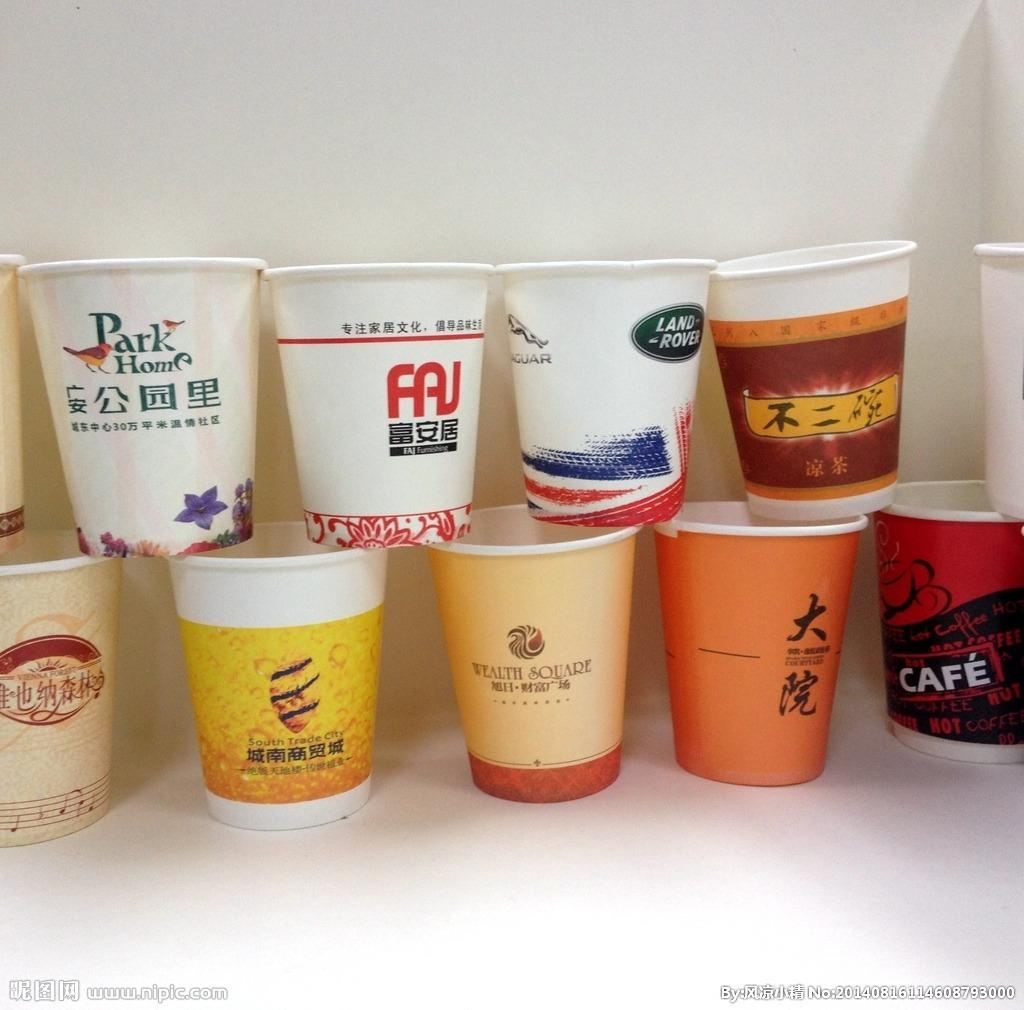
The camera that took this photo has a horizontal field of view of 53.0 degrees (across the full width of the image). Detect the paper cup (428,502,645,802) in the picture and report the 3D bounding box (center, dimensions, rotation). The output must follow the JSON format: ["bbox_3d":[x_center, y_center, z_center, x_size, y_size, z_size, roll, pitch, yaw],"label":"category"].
[{"bbox_3d":[0.036,0.202,1.429,0.375,0.362,0.341,-3,2,0],"label":"paper cup"}]

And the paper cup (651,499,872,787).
[{"bbox_3d":[0.334,0.172,1.495,0.363,0.365,0.356,-2,3,0],"label":"paper cup"}]

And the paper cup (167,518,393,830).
[{"bbox_3d":[-0.247,0.210,1.348,0.378,0.377,0.332,-2,-4,-4],"label":"paper cup"}]
